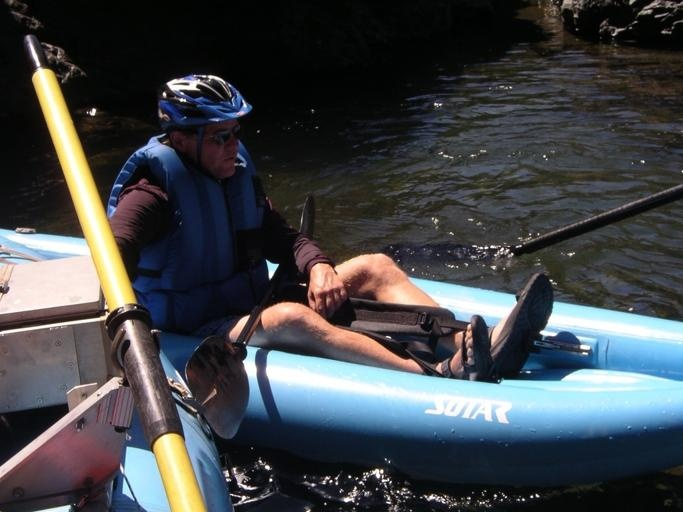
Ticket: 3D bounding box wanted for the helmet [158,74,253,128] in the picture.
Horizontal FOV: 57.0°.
[{"bbox_3d":[-0.586,-0.654,2.624,0.359,0.177,0.180,-9,23,-8],"label":"helmet"}]
